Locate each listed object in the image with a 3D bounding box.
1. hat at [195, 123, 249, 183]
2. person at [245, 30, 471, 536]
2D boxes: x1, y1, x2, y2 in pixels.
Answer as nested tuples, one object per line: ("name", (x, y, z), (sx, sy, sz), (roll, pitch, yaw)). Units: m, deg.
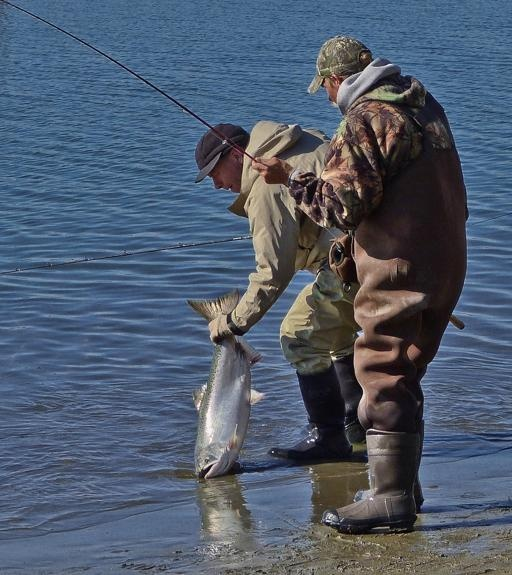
("hat", (-0.186, -0.710, 5.314), (0.304, 0.291, 0.282), (-18, 32, -32))
("person", (0.527, -0.022, 4.192), (1.267, 1.703, 0.951), (-16, 34, -31))
